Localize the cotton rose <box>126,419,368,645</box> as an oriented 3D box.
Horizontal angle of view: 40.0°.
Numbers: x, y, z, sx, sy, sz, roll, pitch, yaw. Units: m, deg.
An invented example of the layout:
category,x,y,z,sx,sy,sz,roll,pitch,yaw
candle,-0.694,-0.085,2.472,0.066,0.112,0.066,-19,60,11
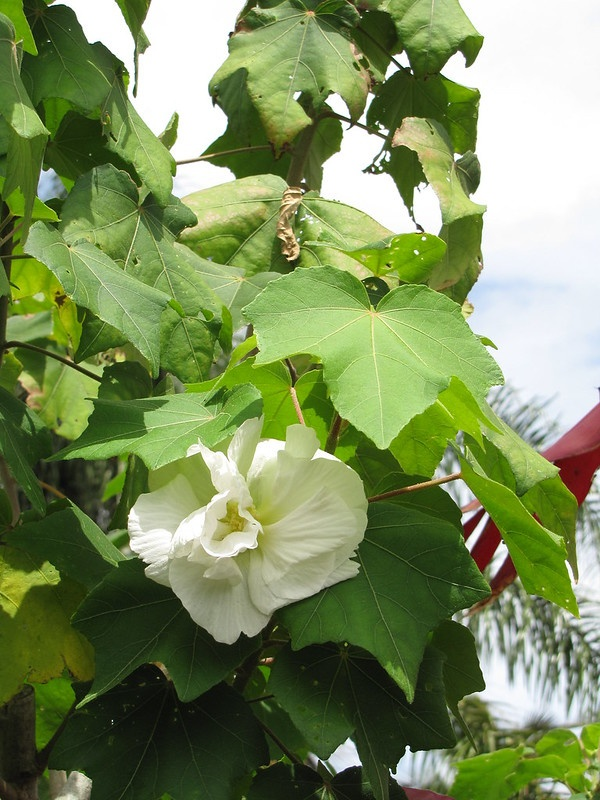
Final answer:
category,x,y,z,sx,sy,sz,roll,pitch,yaw
cotton rose,-0.049,0.120,0.867,0.238,0.199,0.086,16,-46,11
